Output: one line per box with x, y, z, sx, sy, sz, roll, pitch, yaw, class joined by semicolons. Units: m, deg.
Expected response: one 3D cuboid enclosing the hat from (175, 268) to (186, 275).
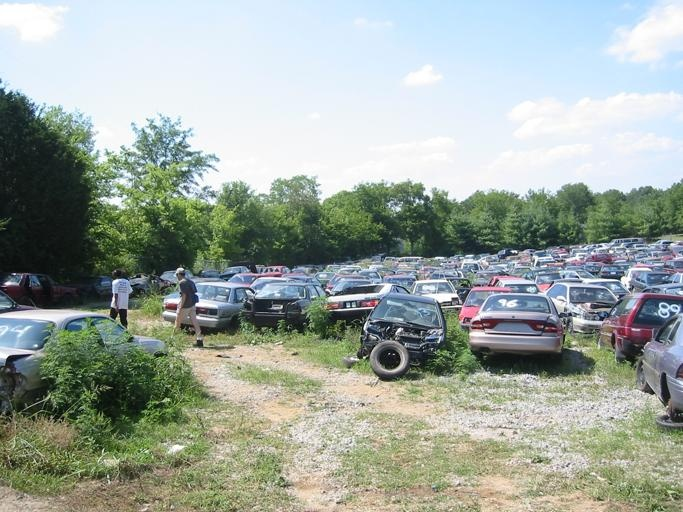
-5.353;0.479;19.400;0.432;0.254;0.544;-1;5;-26;hat

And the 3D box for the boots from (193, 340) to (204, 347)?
-3.692;2.243;15.059;0.251;0.221;0.214;-1;-7;0;boots
